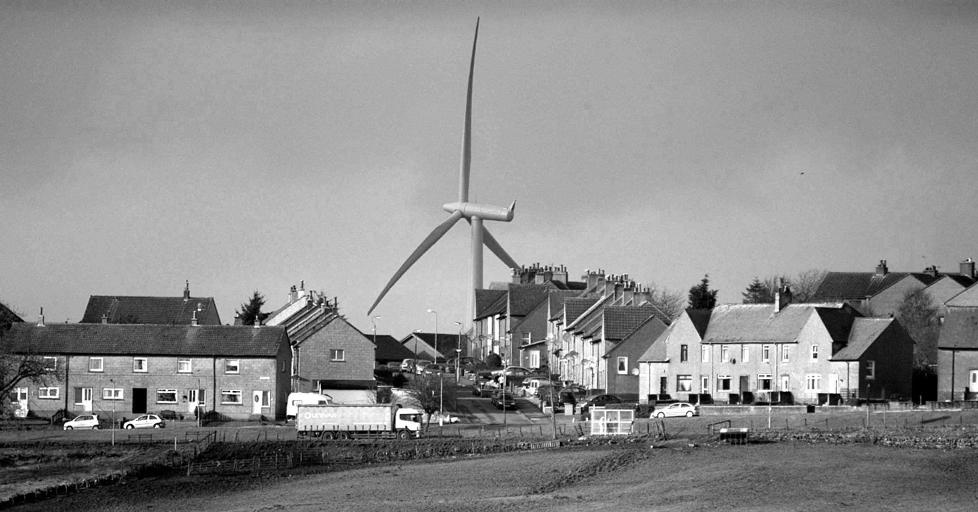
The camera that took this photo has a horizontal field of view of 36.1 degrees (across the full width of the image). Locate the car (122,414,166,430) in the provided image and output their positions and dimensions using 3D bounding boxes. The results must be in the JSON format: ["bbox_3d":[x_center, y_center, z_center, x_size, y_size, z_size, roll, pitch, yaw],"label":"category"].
[{"bbox_3d":[-35.111,16.846,152.894,3.253,1.108,1.666,3,-5,1],"label":"car"}]

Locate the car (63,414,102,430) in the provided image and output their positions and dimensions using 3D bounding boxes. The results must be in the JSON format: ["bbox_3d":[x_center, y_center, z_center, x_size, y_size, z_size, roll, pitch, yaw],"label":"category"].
[{"bbox_3d":[-41.422,16.838,152.681,2.849,1.222,1.630,3,-5,0],"label":"car"}]

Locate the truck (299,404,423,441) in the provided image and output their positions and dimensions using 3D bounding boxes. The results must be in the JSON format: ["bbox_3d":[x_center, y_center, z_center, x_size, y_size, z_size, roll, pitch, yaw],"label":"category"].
[{"bbox_3d":[-12.335,16.135,145.963,14.722,3.914,4.009,0,0,-4],"label":"truck"}]

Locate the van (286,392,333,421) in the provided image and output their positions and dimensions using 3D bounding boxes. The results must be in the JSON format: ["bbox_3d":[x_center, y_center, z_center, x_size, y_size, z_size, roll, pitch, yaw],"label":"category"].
[{"bbox_3d":[-18.649,15.404,153.189,5.047,2.466,2.766,-2,-1,5],"label":"van"}]

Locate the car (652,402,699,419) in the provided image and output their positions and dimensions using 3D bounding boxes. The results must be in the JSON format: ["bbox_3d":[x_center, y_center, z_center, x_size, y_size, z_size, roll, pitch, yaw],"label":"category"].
[{"bbox_3d":[18.701,15.541,151.104,4.141,1.235,1.801,1,-5,4],"label":"car"}]
